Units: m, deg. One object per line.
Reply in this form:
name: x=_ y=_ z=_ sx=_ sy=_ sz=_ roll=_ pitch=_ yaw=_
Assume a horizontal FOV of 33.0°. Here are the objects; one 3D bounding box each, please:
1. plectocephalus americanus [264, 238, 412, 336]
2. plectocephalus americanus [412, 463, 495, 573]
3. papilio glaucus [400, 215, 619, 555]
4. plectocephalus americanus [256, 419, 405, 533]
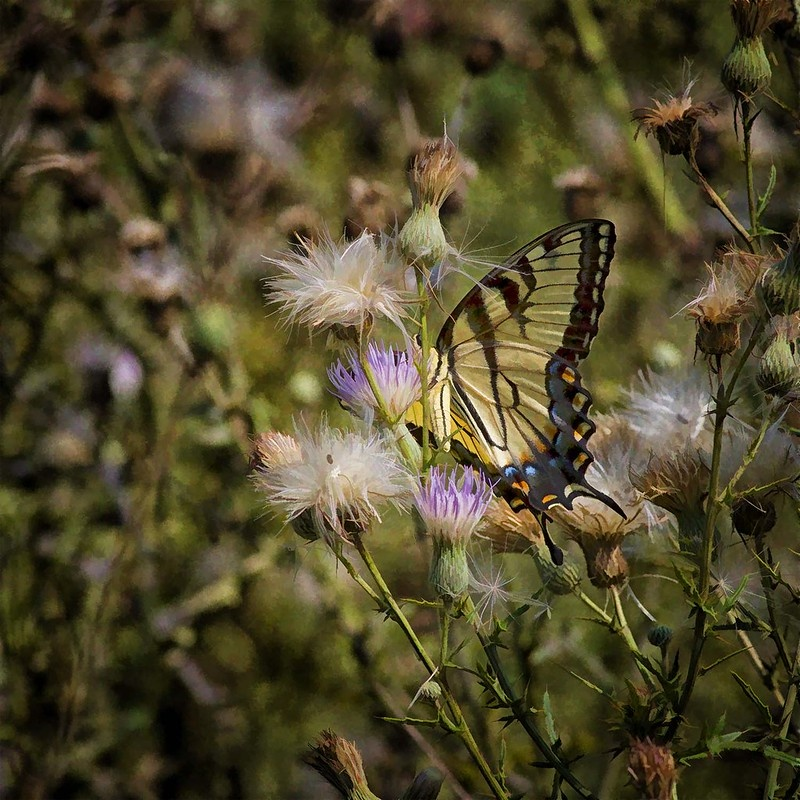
plectocephalus americanus: x=-0.062 y=-0.124 z=1.405 sx=0.150 sy=0.060 sz=0.113 roll=1 pitch=76 yaw=9
plectocephalus americanus: x=0.052 y=0.124 z=1.424 sx=0.080 sy=0.078 sz=0.104 roll=-11 pitch=75 yaw=49
papilio glaucus: x=0.146 y=-0.038 z=1.555 sx=0.178 sy=0.429 sz=0.306 roll=1 pitch=22 yaw=20
plectocephalus americanus: x=-0.072 y=0.088 z=1.407 sx=0.164 sy=0.071 sz=0.114 roll=2 pitch=76 yaw=9
